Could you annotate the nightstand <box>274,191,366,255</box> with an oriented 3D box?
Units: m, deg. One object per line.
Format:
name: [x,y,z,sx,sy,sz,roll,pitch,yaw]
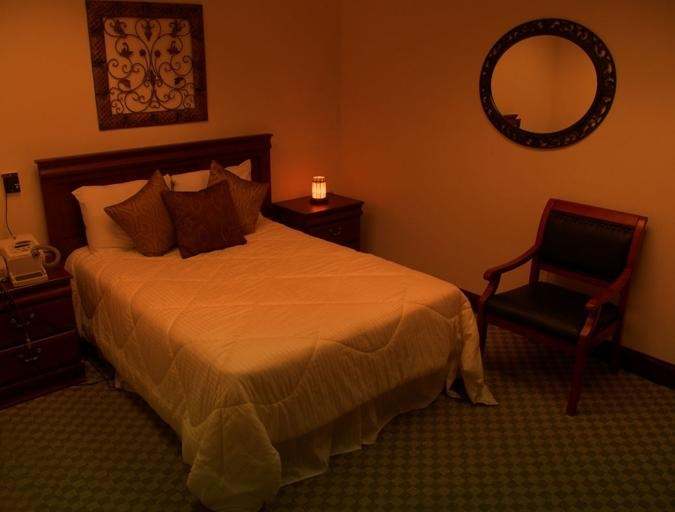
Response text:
nightstand: [-0.188,-0.416,4.813,0.513,0.693,0.662,17,25,40]

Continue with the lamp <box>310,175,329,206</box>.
lamp: [-0.166,-0.642,4.873,0.221,0.336,0.234,1,10,0]

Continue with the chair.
chair: [1.578,0.264,3.497,0.854,1.149,0.883,20,30,39]

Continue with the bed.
bed: [-0.738,0.191,3.446,2.055,1.472,2.570,-17,32,-33]

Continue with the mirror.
mirror: [1.563,-1.282,3.577,1.011,1.076,0.070,-3,7,40]
